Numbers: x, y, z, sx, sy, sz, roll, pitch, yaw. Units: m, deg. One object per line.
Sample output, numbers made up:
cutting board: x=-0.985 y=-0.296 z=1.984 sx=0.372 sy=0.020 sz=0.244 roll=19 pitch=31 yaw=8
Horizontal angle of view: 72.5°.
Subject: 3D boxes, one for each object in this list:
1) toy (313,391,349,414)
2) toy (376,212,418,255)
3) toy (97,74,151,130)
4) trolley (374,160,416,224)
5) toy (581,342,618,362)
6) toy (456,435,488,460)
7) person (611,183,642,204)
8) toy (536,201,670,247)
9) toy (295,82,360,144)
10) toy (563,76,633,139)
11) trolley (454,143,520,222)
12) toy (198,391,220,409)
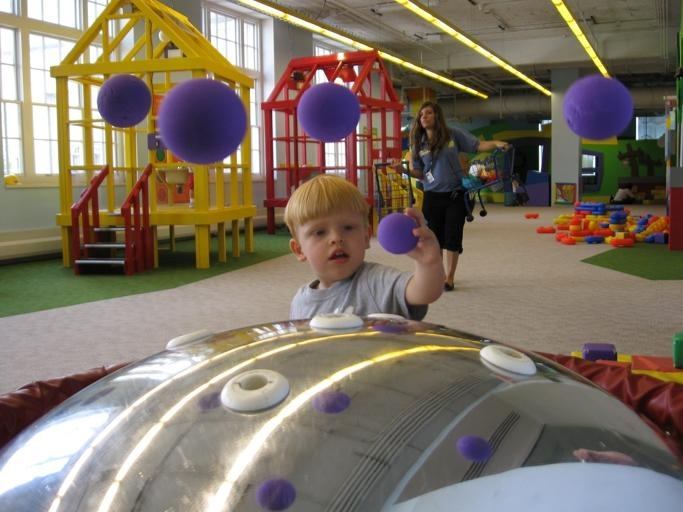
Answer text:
toy: x=-0.012 y=0.197 z=0.634 sx=0.046 sy=0.014 sz=0.039 roll=3 pitch=9 yaw=20
toy: x=0.136 y=-0.051 z=1.167 sx=0.095 sy=0.112 sz=0.097 roll=-12 pitch=16 yaw=12
toy: x=-1.078 y=-0.777 z=2.311 sx=0.233 sy=0.269 sz=0.270 roll=-6 pitch=10 yaw=-28
trolley: x=0.982 y=-1.285 z=8.991 sx=0.749 sy=1.302 sz=1.173 roll=-9 pitch=9 yaw=8
toy: x=0.898 y=0.321 z=1.642 sx=0.078 sy=0.052 sz=0.081 roll=-1 pitch=-2 yaw=3
toy: x=0.167 y=0.240 z=0.586 sx=0.028 sy=0.017 sz=0.022 roll=19 pitch=39 yaw=24
person: x=10.019 y=-2.144 z=16.287 sx=0.819 sy=0.837 sz=0.588 roll=3 pitch=2 yaw=15
toy: x=4.594 y=-0.495 z=8.034 sx=1.575 sy=0.399 sz=1.580 roll=1 pitch=9 yaw=22
toy: x=-0.039 y=-0.494 z=1.605 sx=0.192 sy=0.202 sz=0.230 roll=0 pitch=9 yaw=3
toy: x=0.694 y=-0.405 z=1.264 sx=0.163 sy=0.191 sz=0.221 roll=4 pitch=10 yaw=28
trolley: x=2.774 y=-1.411 z=8.837 sx=0.997 sy=0.934 sz=0.632 roll=-30 pitch=11 yaw=5
toy: x=-0.186 y=0.204 z=0.659 sx=0.021 sy=0.005 sz=0.021 roll=6 pitch=54 yaw=9
